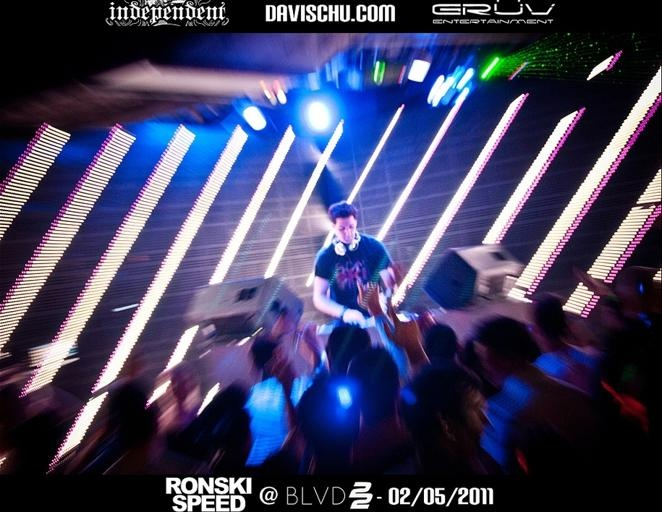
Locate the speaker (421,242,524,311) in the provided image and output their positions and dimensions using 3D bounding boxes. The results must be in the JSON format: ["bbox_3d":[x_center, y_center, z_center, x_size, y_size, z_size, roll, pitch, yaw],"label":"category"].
[{"bbox_3d":[0.940,0.101,2.748,0.573,0.376,0.542,-6,12,-39],"label":"speaker"}]
